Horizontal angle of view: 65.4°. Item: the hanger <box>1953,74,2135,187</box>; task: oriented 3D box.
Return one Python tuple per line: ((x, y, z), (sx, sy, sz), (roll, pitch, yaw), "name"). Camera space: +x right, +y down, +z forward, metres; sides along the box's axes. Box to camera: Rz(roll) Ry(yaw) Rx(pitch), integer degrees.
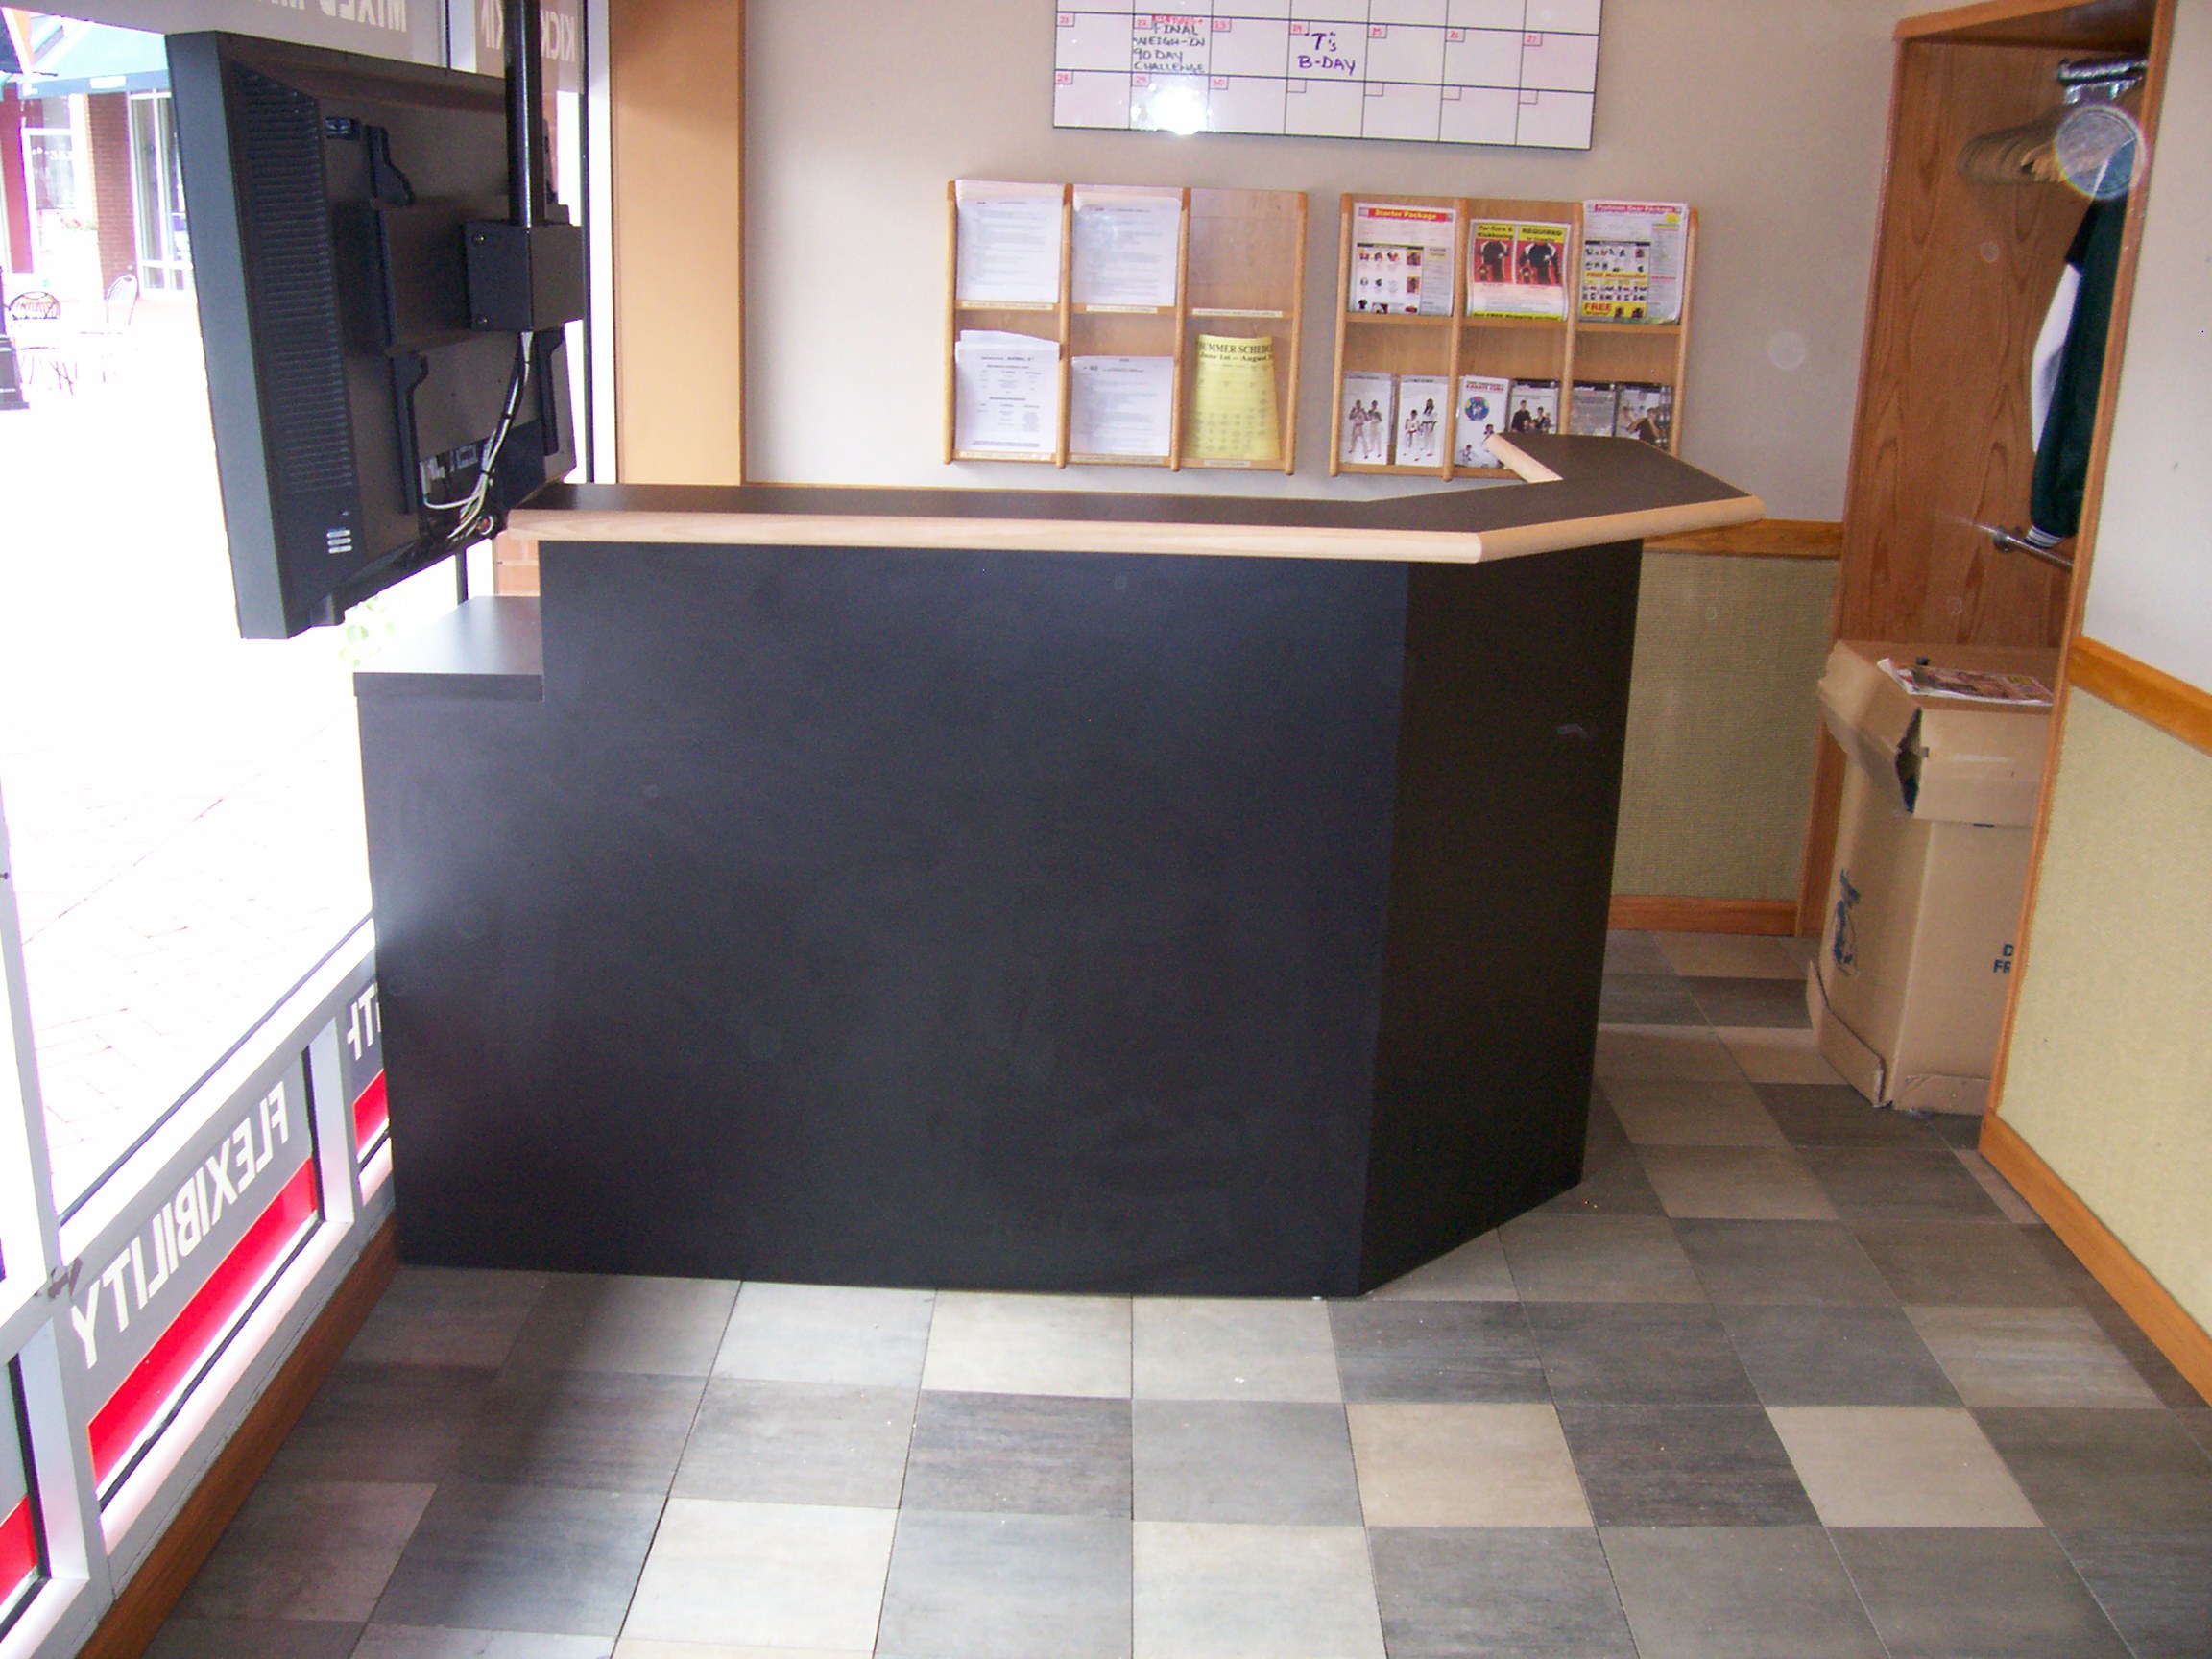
((2.301, -1.681, 4.224), (0.348, 0.282, 1.347), (11, 20, 23), "hanger")
